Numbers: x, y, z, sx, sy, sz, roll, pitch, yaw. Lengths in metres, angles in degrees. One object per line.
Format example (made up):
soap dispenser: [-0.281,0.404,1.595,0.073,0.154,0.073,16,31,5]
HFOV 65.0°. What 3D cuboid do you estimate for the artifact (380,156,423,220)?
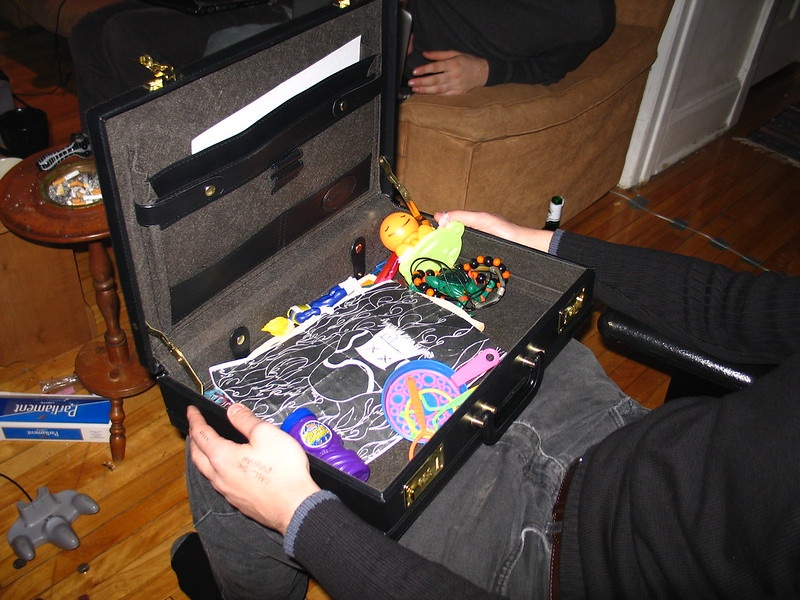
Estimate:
artifact: [0.001,-0.255,1.416,0.017,0.124,0.019,3,42,51]

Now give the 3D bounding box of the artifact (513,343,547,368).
artifact: [0.242,0.101,1.175,0.050,0.012,0.051,36,45,20]

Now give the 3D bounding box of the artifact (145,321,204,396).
artifact: [-0.406,0.096,1.187,0.142,0.078,0.049,46,31,5]

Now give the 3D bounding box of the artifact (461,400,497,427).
artifact: [0.138,0.199,1.088,0.048,0.018,0.051,28,38,25]
